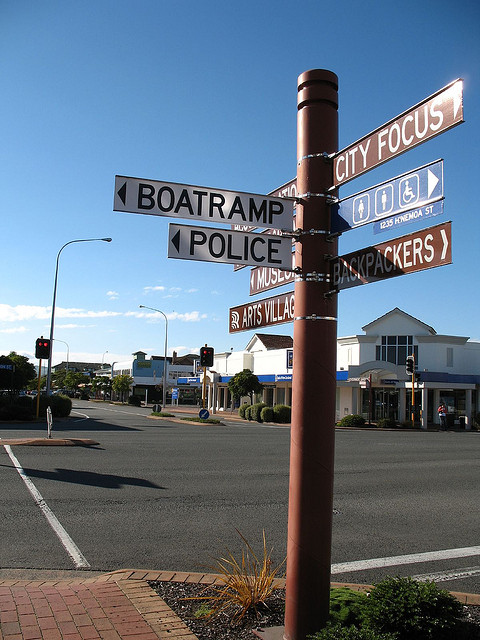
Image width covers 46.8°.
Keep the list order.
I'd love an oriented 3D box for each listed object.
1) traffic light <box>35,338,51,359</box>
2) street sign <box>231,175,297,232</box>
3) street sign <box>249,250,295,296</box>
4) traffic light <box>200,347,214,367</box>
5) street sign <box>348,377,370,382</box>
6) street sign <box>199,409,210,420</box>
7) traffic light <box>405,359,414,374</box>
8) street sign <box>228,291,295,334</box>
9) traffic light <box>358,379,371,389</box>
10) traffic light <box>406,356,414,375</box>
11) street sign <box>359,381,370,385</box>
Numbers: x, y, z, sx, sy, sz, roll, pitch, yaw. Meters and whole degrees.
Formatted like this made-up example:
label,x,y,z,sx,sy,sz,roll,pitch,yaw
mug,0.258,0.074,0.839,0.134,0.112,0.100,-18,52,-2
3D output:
label,x,y,z,sx,sy,sz,roll,pitch,yaw
traffic light,-8.912,1.340,25.052,0.729,0.877,0.449,8,-8,-40
street sign,0.157,-0.827,4.252,0.114,0.259,0.900,3,11,-33
street sign,0.265,-0.377,4.620,0.019,0.219,0.684,1,13,36
traffic light,-1.789,2.027,29.930,0.683,1.043,2.292,3,-7,-5
street sign,7.971,4.049,37.304,0.635,0.349,1.595,8,-8,-36
street sign,-2.168,5.693,33.131,0.542,0.627,1.532,3,-7,-5
traffic light,9.876,2.668,32.101,0.474,1.175,0.489,0,2,3
street sign,0.185,-0.049,4.589,0.801,0.232,0.007,-13,13,-42
traffic light,8.278,4.327,36.906,0.802,0.589,0.607,1,4,25
traffic light,9.937,2.648,32.216,0.338,1.001,0.633,0,-6,23
street sign,8.313,4.201,36.790,0.432,0.223,1.393,5,-7,-17
